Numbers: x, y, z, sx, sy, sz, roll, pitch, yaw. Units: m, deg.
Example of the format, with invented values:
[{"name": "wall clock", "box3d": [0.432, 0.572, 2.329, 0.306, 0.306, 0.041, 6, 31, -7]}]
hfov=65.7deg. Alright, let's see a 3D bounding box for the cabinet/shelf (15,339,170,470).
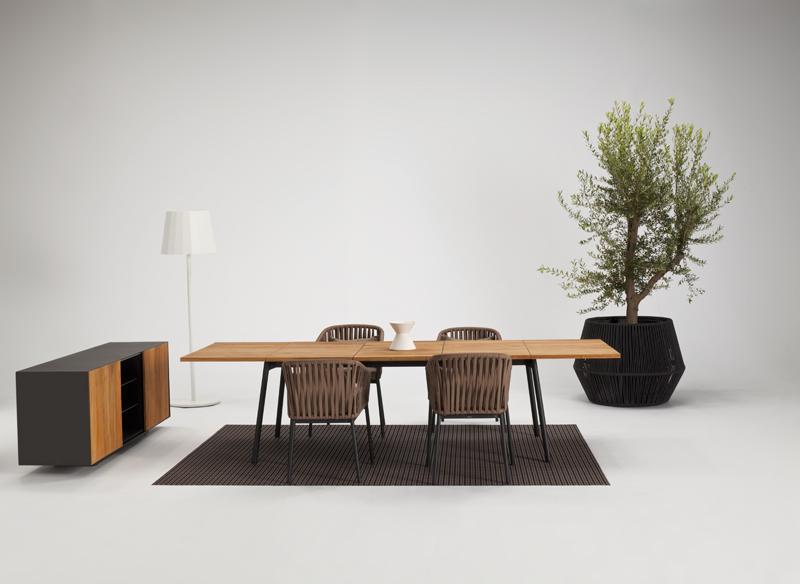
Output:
[{"name": "cabinet/shelf", "box3d": [-2.719, 0.996, 5.693, 0.590, 0.846, 1.682, 0, 2, 0]}]
